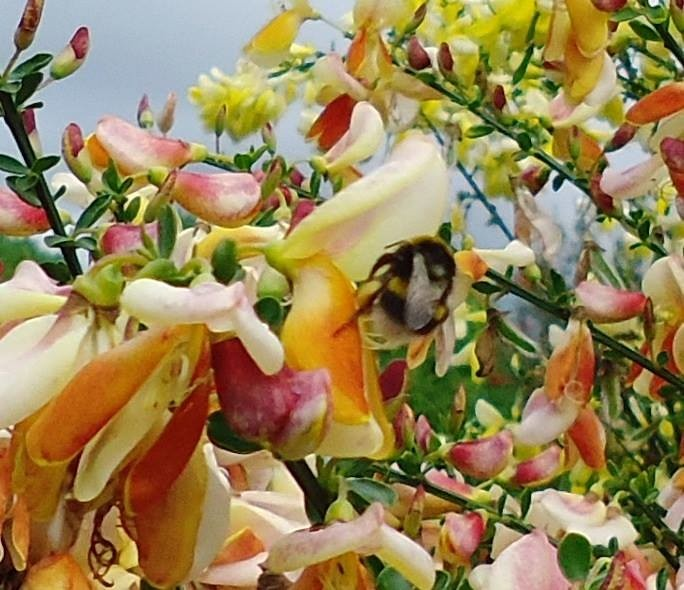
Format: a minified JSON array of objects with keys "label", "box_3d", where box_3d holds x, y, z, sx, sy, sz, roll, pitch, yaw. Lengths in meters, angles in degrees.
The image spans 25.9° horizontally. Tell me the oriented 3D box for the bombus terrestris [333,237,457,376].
[{"label":"bombus terrestris","box_3d":[0.028,0.007,0.846,0.054,0.073,0.028,26,9,21]}]
